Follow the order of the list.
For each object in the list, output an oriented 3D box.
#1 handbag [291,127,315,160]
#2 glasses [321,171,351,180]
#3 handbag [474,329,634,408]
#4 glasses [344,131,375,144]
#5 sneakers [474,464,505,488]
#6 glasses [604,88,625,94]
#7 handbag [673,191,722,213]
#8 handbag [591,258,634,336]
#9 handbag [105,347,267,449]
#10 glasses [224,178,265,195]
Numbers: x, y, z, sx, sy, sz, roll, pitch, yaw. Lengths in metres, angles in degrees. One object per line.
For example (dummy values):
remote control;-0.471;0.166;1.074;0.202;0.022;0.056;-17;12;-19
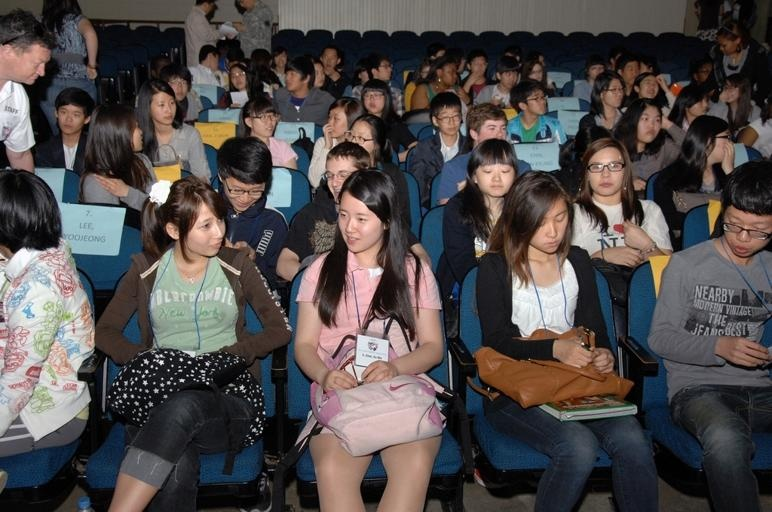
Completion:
handbag;-0.748;-1.027;5.040;0.188;0.292;0.406;-1;11;-8
glasses;-0.279;-0.477;3.243;0.185;0.076;0.085;6;12;25
handbag;0.750;0.401;2.503;0.447;0.139;0.438;-9;14;-38
glasses;-0.190;-0.856;4.021;0.205;0.075;0.085;1;11;1
sneakers;0.473;1.013;2.554;0.089;0.057;0.159;20;-8;-13
glasses;2.349;-1.695;5.679;0.193;0.050;0.063;-4;12;-24
handbag;2.249;-0.380;3.951;0.356;0.138;0.192;-1;11;-7
handbag;1.229;0.207;3.066;0.219;0.368;0.563;5;12;23
handbag;-0.836;0.552;2.399;0.565;0.435;0.224;0;0;-9
glasses;-0.829;-0.404;3.222;0.230;0.095;0.109;0;11;-4
